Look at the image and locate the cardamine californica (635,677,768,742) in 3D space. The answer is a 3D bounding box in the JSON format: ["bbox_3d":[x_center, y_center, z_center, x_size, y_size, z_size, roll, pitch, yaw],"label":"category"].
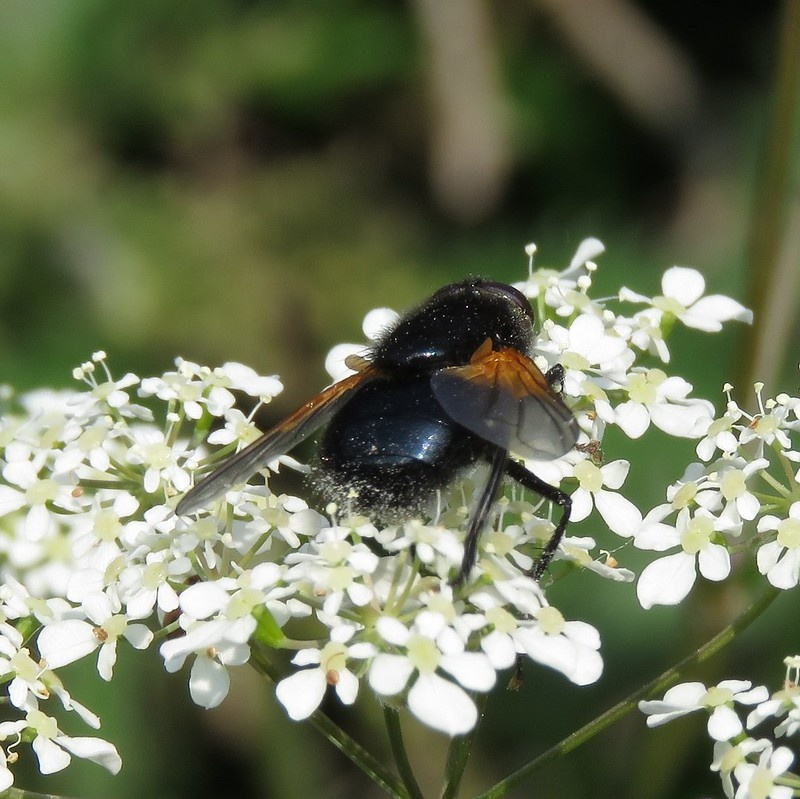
[{"bbox_3d":[0.548,0.562,1.877,0.231,0.125,0.135,-3,20,2],"label":"cardamine californica"}]

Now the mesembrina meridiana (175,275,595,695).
[{"bbox_3d":[0.013,0.056,2.051,0.655,0.457,0.687,-1,19,7],"label":"mesembrina meridiana"}]
